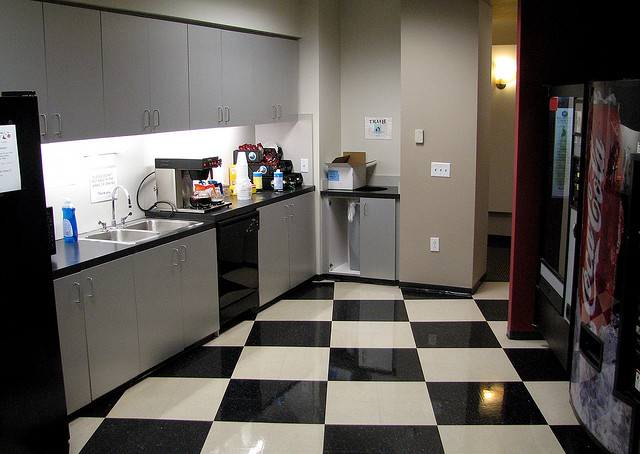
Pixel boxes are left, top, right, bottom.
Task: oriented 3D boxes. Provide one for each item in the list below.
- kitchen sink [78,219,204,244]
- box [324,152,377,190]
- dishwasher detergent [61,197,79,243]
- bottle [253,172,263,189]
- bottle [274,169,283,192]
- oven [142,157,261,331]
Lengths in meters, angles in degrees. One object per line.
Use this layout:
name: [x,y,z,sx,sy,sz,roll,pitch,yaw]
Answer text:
kitchen sink: [-1.537,-0.018,3.952,0.585,0.239,0.535,3,9,23]
box: [0.339,-0.715,5.803,0.528,0.402,0.560,5,14,29]
dishwasher detergent: [-1.926,-0.048,3.594,0.094,0.328,0.089,-12,18,-37]
bottle: [-0.705,-0.532,5.323,0.139,0.250,0.144,0,7,0]
bottle: [-0.472,-0.517,5.282,0.095,0.228,0.164,-2,14,-6]
oven: [-1.148,0.215,4.755,1.015,1.981,0.909,-7,4,8]
